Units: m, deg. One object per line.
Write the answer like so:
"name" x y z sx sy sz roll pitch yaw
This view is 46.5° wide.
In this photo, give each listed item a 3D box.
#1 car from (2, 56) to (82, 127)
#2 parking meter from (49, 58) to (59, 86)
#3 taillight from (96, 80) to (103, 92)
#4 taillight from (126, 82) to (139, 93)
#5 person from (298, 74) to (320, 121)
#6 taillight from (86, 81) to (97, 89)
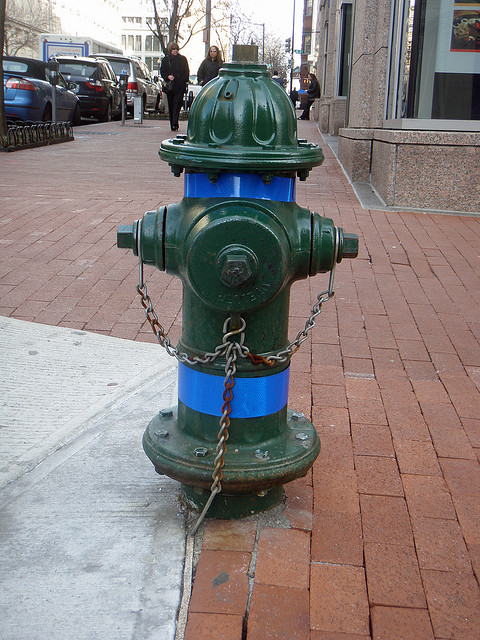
"car" -5.115 -5.885 14.276 1.348 1.325 3.137 4 18 10
"parking meter" -4.601 -6.140 13.831 0.212 0.602 0.434 -4 14 -21
"taillight" -4.727 -7.911 18.816 0.208 0.304 0.168 -5 5 -21
"taillight" -4.215 -9.159 21.867 0.312 0.422 0.341 -2 19 -5
"person" 3.266 -10.571 26.278 0.671 2.160 0.727 18 21 24
"taillight" -4.931 -7.926 18.699 0.305 0.200 0.259 -2 14 -15
